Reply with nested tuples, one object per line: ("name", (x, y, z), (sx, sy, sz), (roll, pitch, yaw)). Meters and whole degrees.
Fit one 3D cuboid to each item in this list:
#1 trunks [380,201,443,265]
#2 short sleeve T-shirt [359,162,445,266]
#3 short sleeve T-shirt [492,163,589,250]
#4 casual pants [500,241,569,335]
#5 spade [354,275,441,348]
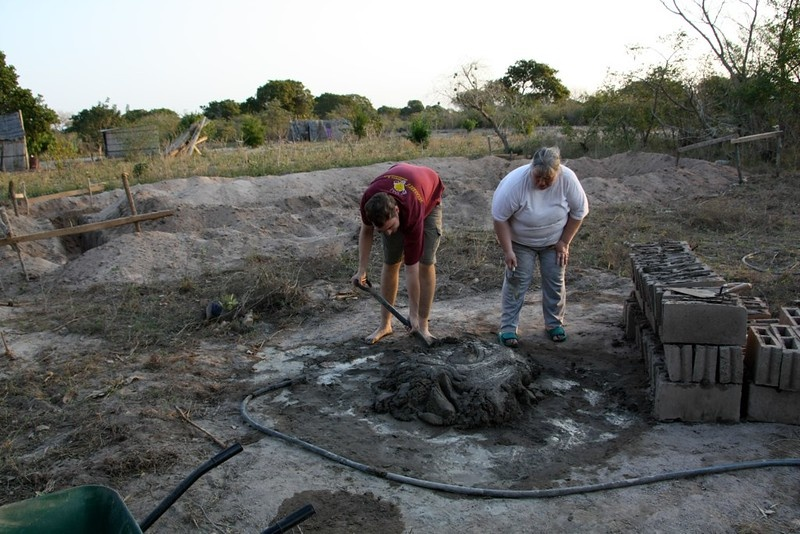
("trunks", (0.105, -0.363, 6.157), (0.485, 0.407, 0.712), (-12, -21, 13))
("short sleeve T-shirt", (-0.027, -0.530, 6.431), (0.832, 1.087, 0.849), (10, 28, 17))
("short sleeve T-shirt", (1.489, -0.675, 6.491), (0.967, 0.858, 0.565), (-3, 28, 3))
("casual pants", (1.473, 0.030, 6.608), (0.705, 1.867, 0.364), (1, 39, 8))
("spade", (-0.036, 0.525, 6.860), (0.125, 0.882, 0.209), (-42, -21, -1))
